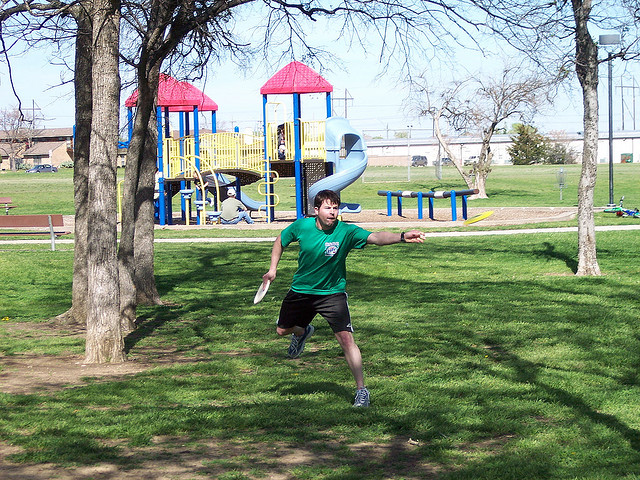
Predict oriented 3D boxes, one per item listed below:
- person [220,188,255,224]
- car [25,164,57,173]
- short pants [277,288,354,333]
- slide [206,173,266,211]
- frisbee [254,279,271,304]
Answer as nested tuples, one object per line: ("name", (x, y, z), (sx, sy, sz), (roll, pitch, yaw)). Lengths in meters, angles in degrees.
("person", (-3.159, -1.083, 32.143), (1.333, 0.936, 0.772), (1, 13, 11))
("car", (-28.408, -7.532, 87.431), (3.137, 0.786, 1.444), (1, 0, -20))
("short pants", (-0.038, 0.904, 10.699), (1.062, 0.513, 0.341), (3, 6, 13))
("slide", (-3.338, -1.988, 36.044), (1.752, 1.770, 4.193), (-3, 11, -7))
("frisbee", (-0.665, 0.609, 10.212), (0.055, 0.311, 0.331), (42, -49, -17))
